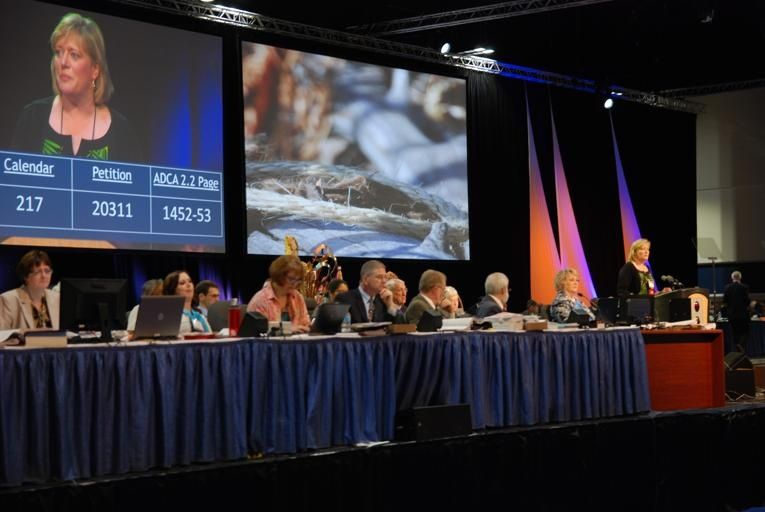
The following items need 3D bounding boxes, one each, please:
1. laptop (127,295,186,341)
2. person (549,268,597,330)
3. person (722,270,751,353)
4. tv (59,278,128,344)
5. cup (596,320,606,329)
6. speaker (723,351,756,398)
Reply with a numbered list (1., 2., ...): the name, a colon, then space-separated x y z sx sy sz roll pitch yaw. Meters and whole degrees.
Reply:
1. laptop: -1.797 0.506 5.658 0.367 0.363 0.289 4 -1 -12
2. person: 2.036 0.484 7.693 0.437 0.719 0.832 3 0 15
3. person: 6.230 1.050 12.622 0.407 1.184 0.424 -1 -4 32
4. tv: -2.323 0.427 5.817 0.232 0.504 0.556 -1 -3 42
5. cup: 2.249 0.697 7.362 0.089 0.074 0.406 0 -3 17
6. speaker: 3.938 1.312 7.890 0.293 0.474 0.432 -1 -3 26
